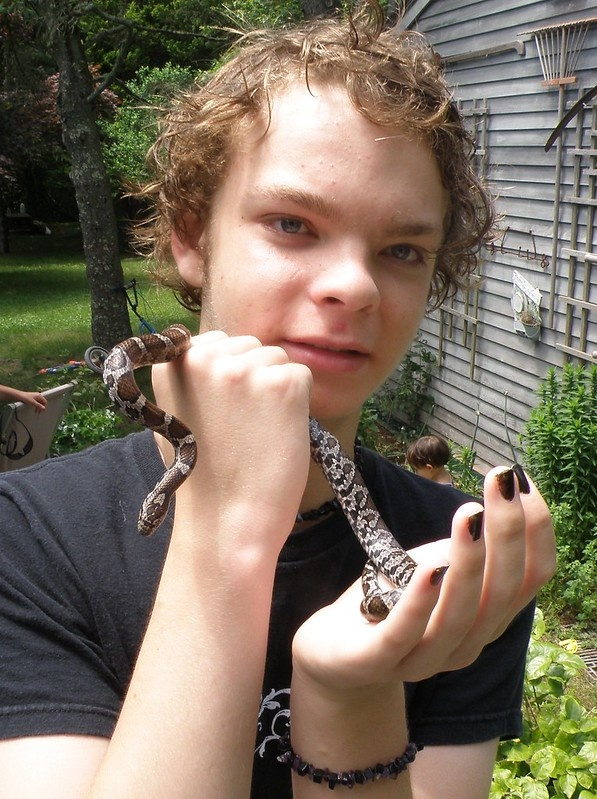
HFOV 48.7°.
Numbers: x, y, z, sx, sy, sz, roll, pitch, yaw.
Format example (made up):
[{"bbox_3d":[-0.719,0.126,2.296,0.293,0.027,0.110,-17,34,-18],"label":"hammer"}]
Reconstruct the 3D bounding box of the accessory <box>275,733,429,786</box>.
[{"bbox_3d":[0.164,1.019,1.820,0.353,0.073,0.080,-3,10,-8],"label":"accessory"}]
